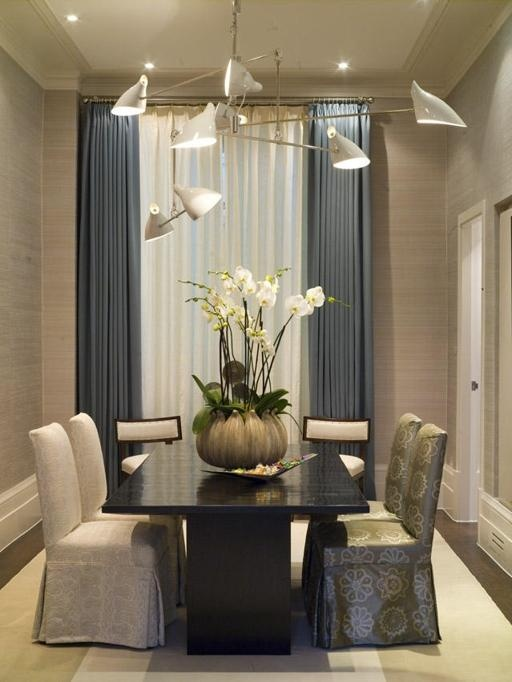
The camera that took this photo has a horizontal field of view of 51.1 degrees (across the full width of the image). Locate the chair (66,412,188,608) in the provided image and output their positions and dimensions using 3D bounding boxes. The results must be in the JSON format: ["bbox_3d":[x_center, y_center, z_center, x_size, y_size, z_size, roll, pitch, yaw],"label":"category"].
[{"bbox_3d":[-0.599,0.788,2.569,0.488,0.930,0.524,-6,-5,-17],"label":"chair"}]

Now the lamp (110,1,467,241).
[{"bbox_3d":[0.130,-1.488,3.588,1.247,1.032,1.356,-1,0,-20],"label":"lamp"}]

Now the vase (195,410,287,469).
[{"bbox_3d":[-0.053,0.414,2.267,0.360,0.264,0.419,-3,-10,11],"label":"vase"}]

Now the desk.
[{"bbox_3d":[-0.092,0.781,2.012,0.547,0.506,0.927,0,3,0],"label":"desk"}]

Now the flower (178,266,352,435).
[{"bbox_3d":[-0.040,0.123,2.253,0.489,0.765,0.616,2,-10,20],"label":"flower"}]

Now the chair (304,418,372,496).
[{"bbox_3d":[0.546,0.774,3.714,0.408,0.686,0.400,0,-7,1],"label":"chair"}]

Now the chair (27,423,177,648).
[{"bbox_3d":[-0.642,0.763,2.247,0.451,0.869,0.539,-4,-5,-14],"label":"chair"}]

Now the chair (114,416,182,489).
[{"bbox_3d":[-0.717,0.855,3.597,0.471,0.750,0.456,0,-13,-15],"label":"chair"}]

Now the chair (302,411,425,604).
[{"bbox_3d":[0.453,0.731,2.577,0.550,0.586,0.851,8,7,41],"label":"chair"}]

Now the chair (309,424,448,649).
[{"bbox_3d":[0.458,0.715,2.547,0.576,1.174,0.889,2,-5,2],"label":"chair"}]
